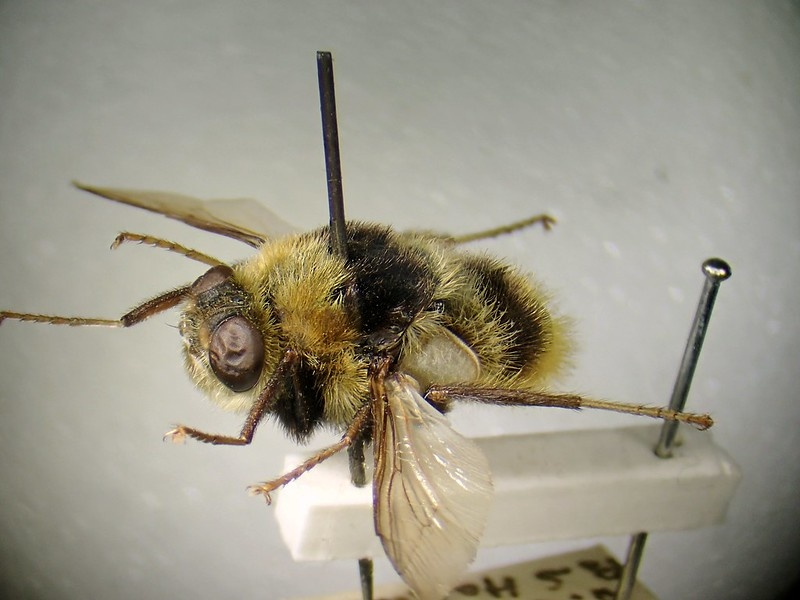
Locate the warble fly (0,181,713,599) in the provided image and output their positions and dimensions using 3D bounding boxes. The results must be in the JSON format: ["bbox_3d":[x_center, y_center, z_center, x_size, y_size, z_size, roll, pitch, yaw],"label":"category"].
[{"bbox_3d":[-0.060,0.042,0.817,0.499,0.160,0.471,-10,34,-28],"label":"warble fly"}]
